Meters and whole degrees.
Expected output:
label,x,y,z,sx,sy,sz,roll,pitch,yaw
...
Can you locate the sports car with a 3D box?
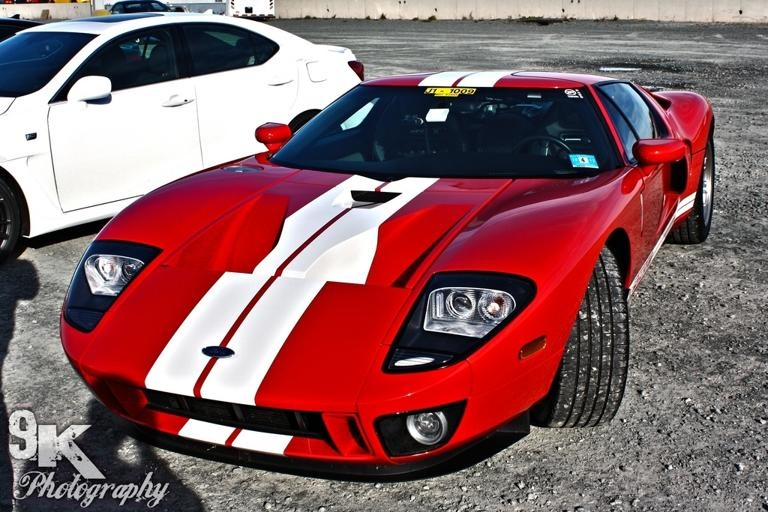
label,x,y,z,sx,sy,sz,roll,pitch,yaw
sports car,0.598,-0.606,4.218,3.157,1.165,4.717,7,30,32
